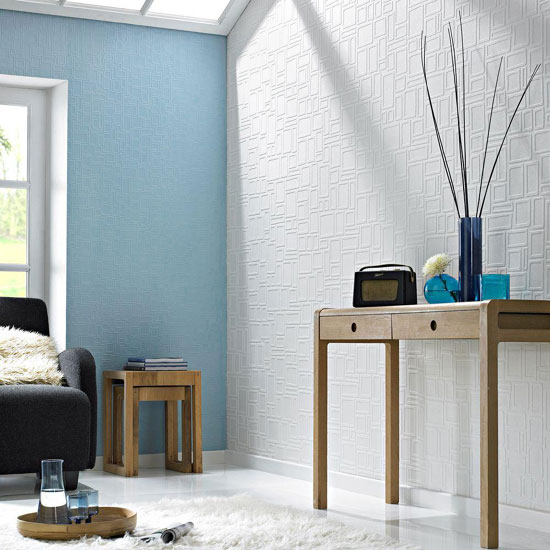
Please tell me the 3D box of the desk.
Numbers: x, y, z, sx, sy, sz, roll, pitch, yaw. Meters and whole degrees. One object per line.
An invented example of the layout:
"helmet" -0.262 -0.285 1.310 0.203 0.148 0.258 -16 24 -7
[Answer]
"desk" 0.532 0.497 2.024 0.284 0.686 0.759 1 -2 -29

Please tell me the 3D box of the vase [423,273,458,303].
"vase" 0.535 0.046 1.967 0.088 0.093 0.088 -5 -4 43

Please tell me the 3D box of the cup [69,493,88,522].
"cup" -0.501 0.588 1.553 0.049 0.095 0.068 1 -2 -18

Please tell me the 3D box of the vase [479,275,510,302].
"vase" 0.647 0.033 1.804 0.077 0.085 0.079 -1 0 -37

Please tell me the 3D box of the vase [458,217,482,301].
"vase" 0.607 -0.052 1.894 0.063 0.263 0.087 0 -2 20

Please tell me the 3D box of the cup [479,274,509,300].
"cup" 0.651 0.031 1.826 0.070 0.080 0.077 -1 0 0

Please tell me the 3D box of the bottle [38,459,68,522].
"bottle" -0.570 0.544 1.562 0.071 0.172 0.134 1 -2 -22

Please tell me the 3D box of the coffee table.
"coffee table" -0.681 0.807 3.378 0.438 0.593 0.477 -7 -9 44
